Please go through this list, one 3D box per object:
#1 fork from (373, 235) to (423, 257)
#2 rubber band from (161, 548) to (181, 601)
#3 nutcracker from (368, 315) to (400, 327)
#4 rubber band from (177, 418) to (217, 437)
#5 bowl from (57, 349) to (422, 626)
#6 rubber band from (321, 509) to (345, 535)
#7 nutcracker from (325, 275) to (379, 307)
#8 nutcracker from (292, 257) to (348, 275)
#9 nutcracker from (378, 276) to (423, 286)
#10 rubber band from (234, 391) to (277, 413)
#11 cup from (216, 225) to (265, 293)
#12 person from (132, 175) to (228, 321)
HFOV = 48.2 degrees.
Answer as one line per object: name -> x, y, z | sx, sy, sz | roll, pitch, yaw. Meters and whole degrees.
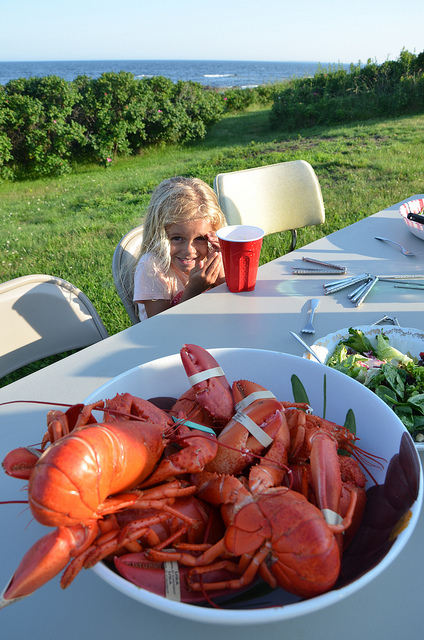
fork -> 0.673, -0.278, 1.780 | 0.054, 0.048, 0.270 | -15, 26, -17
rubber band -> -0.055, 0.320, 0.606 | 0.011, 0.033, 0.074 | 30, 0, -5
nutcracker -> 0.463, -0.002, 1.257 | 0.067, 0.013, 0.073 | 14, 27, 29
rubber band -> -0.026, 0.158, 0.709 | 0.069, 0.022, 0.010 | 11, 27, 29
bowl -> 0.033, 0.249, 0.664 | 0.399, 0.153, 0.415 | -1, 31, 0
rubber band -> 0.157, 0.262, 0.616 | 0.020, 0.020, 0.016 | -21, 14, -7
nutcracker -> 0.440, -0.099, 1.438 | 0.161, 0.024, 0.092 | -30, 47, -33
nutcracker -> 0.362, -0.176, 1.582 | 0.165, 0.024, 0.129 | 11, 25, 23
nutcracker -> 0.588, -0.133, 1.490 | 0.154, 0.008, 0.048 | -5, 48, -14
rubber band -> 0.063, 0.122, 0.736 | 0.046, 0.013, 0.033 | -31, 25, -6
cup -> 0.089, -0.202, 1.478 | 0.178, 0.209, 0.180 | -1, 34, 1
person -> -0.137, -0.350, 2.308 | 0.491, 0.758, 0.489 | 2, 37, -7
